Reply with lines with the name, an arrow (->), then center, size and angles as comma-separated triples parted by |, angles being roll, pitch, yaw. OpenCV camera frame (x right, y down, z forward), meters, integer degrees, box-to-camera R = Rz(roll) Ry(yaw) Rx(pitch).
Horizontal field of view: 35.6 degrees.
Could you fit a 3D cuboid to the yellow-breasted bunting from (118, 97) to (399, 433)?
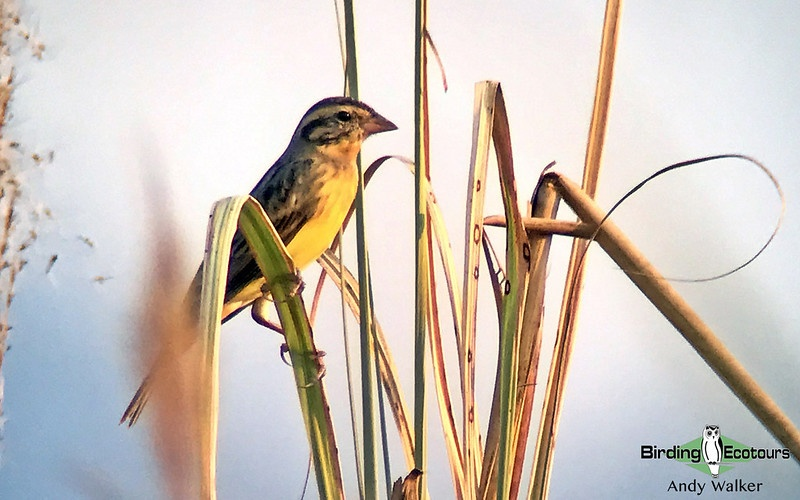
yellow-breasted bunting -> -0.294, -0.002, 2.652 | 0.344, 0.626, 0.517 | 21, -37, -29
